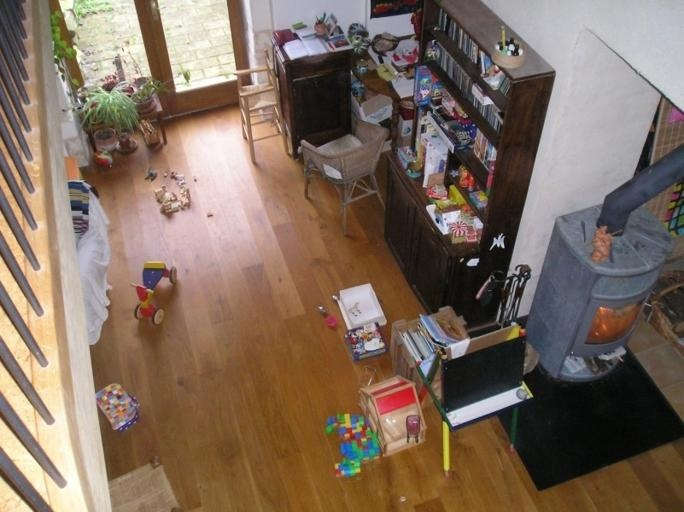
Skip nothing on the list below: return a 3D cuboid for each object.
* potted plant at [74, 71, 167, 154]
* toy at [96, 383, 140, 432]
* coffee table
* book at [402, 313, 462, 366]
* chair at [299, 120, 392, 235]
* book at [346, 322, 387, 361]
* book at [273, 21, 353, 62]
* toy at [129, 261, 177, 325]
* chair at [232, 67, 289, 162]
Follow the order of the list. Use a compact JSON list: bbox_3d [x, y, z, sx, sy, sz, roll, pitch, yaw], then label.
[{"bbox_3d":[-2.831,-1.832,7.216,1.128,0.874,0.767,-19,44,-13],"label":"potted plant"},{"bbox_3d":[-1.983,1.302,4.887,0.301,0.226,0.417,-36,51,-28],"label":"toy"},{"bbox_3d":[0.973,1.155,4.468,0.551,0.951,0.938,-16,59,-9],"label":"coffee table"},{"bbox_3d":[0.758,0.716,4.620,0.378,0.143,0.393,-34,40,12],"label":"book"},{"bbox_3d":[0.027,-1.036,6.395,0.937,1.026,0.961,-22,45,-16],"label":"chair"},{"bbox_3d":[0.232,0.823,5.286,0.357,0.174,0.275,-17,45,-10],"label":"book"},{"bbox_3d":[-0.362,-2.562,6.555,0.871,0.233,0.666,-13,45,-7],"label":"book"},{"bbox_3d":[-1.912,0.292,5.648,0.311,0.436,0.722,3,69,3],"label":"toy"},{"bbox_3d":[-1.036,-1.831,7.200,0.524,1.083,0.627,-15,69,-11],"label":"chair"}]
